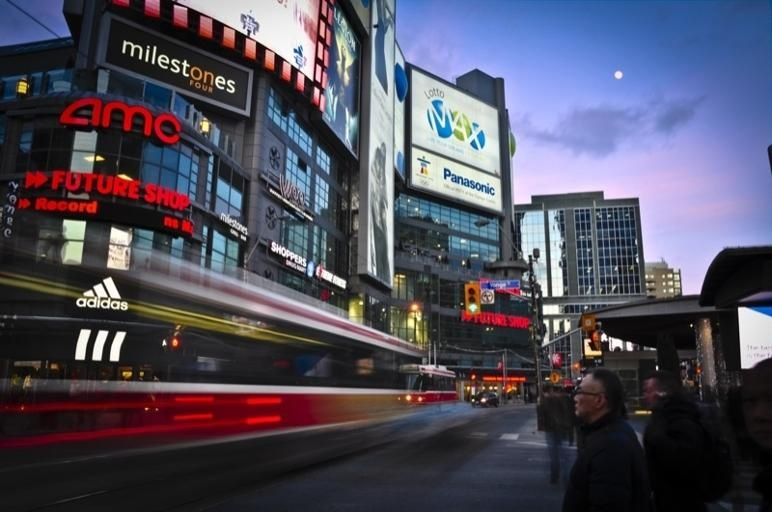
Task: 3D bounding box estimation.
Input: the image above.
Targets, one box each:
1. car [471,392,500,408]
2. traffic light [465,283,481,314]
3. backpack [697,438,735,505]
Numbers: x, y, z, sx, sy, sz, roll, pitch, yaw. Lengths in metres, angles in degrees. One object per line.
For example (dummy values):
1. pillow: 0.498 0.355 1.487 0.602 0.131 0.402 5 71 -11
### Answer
1. car: 11.767 16.540 68.963 1.527 1.264 3.275 -4 -7 34
2. traffic light: 5.024 2.356 34.440 0.793 1.706 0.545 4 -11 -13
3. backpack: 4.965 3.181 8.978 0.736 0.991 0.260 10 -13 -37
